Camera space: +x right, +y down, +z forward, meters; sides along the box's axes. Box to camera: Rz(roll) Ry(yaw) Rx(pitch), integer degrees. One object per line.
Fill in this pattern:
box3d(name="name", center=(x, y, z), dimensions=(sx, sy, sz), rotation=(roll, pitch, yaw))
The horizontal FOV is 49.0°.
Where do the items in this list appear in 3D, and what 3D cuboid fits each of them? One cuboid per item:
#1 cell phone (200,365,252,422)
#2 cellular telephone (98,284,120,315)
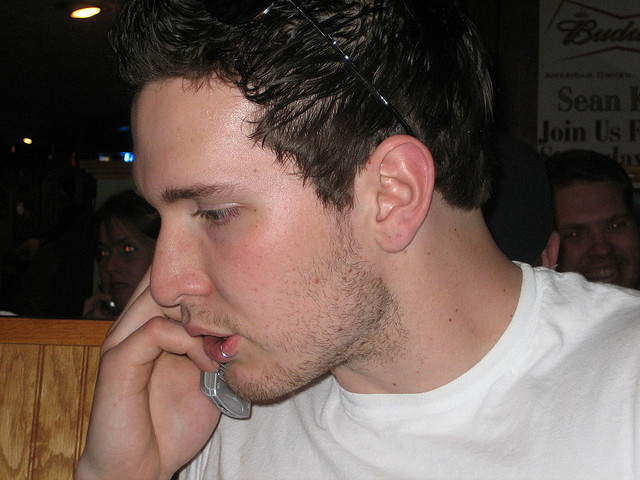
box3d(name="cell phone", center=(-0.307, 0.496, 2.219), dimensions=(0.039, 0.179, 0.176), rotation=(-29, 22, 39))
box3d(name="cellular telephone", center=(-0.948, 0.268, 3.164), dimensions=(0.113, 0.132, 0.039), rotation=(-2, -3, 34))
